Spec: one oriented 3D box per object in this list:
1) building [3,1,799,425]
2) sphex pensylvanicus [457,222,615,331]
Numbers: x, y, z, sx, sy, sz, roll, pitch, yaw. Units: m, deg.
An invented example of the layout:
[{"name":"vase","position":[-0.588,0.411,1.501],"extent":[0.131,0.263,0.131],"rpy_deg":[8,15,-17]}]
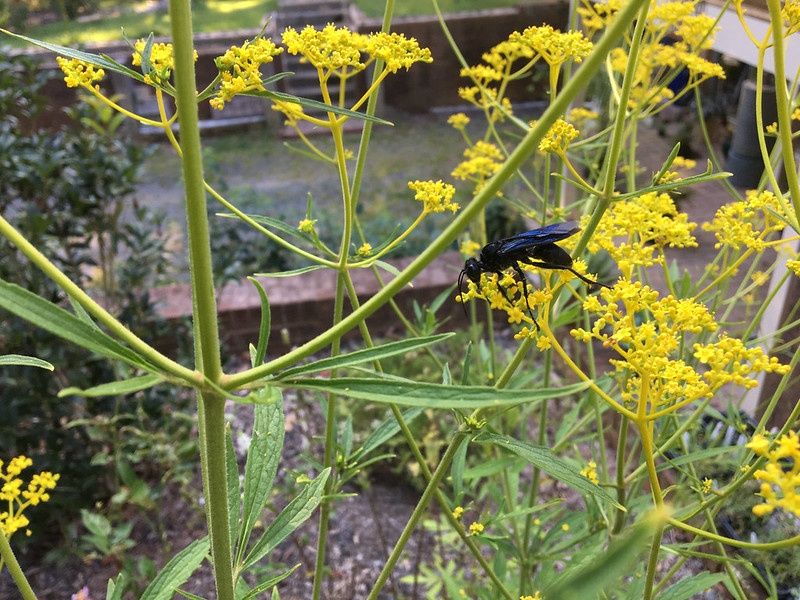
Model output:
[{"name":"building","position":[-0.229,-0.297,2.336],"extent":[1.879,1.363,1.076],"rpy_deg":[7,37,-2]},{"name":"sphex pensylvanicus","position":[0.439,-0.117,2.729],"extent":[0.539,0.198,0.497],"rpy_deg":[-16,-1,5]}]
